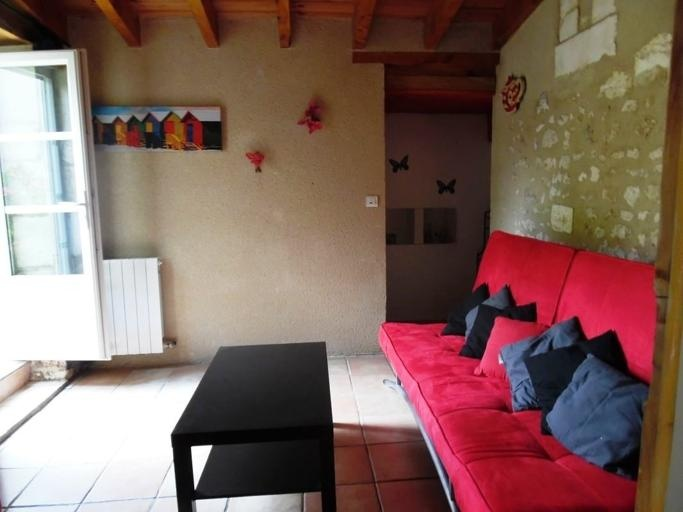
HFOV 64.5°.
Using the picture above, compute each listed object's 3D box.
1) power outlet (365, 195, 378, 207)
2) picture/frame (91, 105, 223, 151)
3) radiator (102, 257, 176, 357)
[{"bbox_3d":[0.262,-0.469,4.690,0.101,0.100,0.025,3,0,-4],"label":"power outlet"},{"bbox_3d":[-1.520,-1.055,4.469,1.019,0.343,0.028,0,9,-5],"label":"picture/frame"},{"bbox_3d":[-1.735,0.409,4.524,0.655,0.710,0.172,-4,8,-6],"label":"radiator"}]
